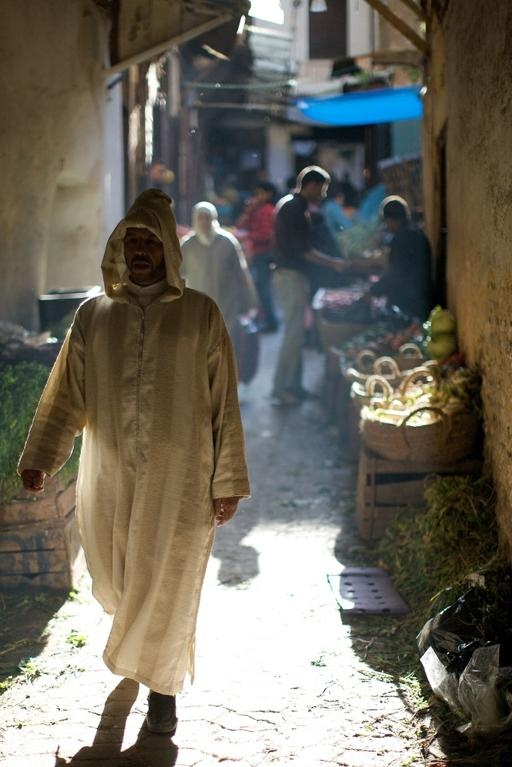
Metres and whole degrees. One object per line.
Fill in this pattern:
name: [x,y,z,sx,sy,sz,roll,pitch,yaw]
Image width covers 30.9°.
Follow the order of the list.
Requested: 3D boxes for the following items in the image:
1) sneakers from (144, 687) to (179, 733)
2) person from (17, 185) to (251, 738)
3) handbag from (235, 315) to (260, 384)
sneakers: [-0.338,1.157,3.317,0.116,0.154,0.148,-2,11,-7]
person: [-0.414,0.200,3.320,0.780,1.752,0.508,2,12,10]
handbag: [-0.072,-0.318,9.048,0.119,0.530,0.399,7,5,11]
